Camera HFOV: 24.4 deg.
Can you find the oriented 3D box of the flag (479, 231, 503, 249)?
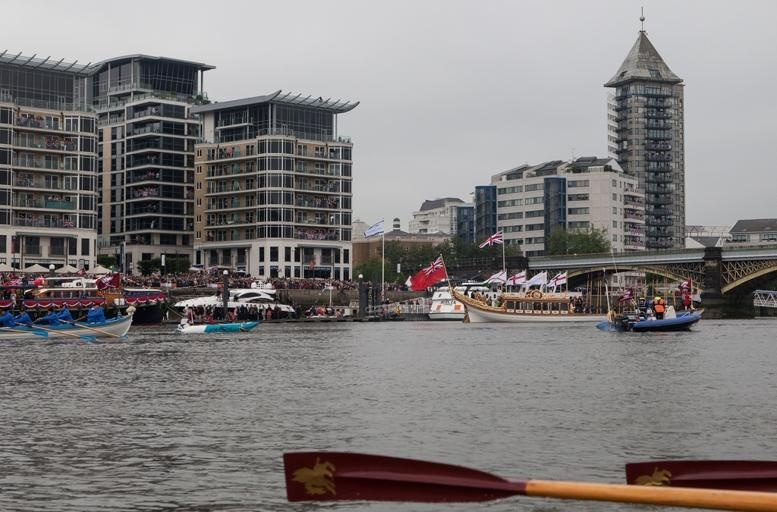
[{"bbox_3d":[13.670,-1.821,232.178,3.319,0.909,4.009,5,19,12],"label":"flag"}]
